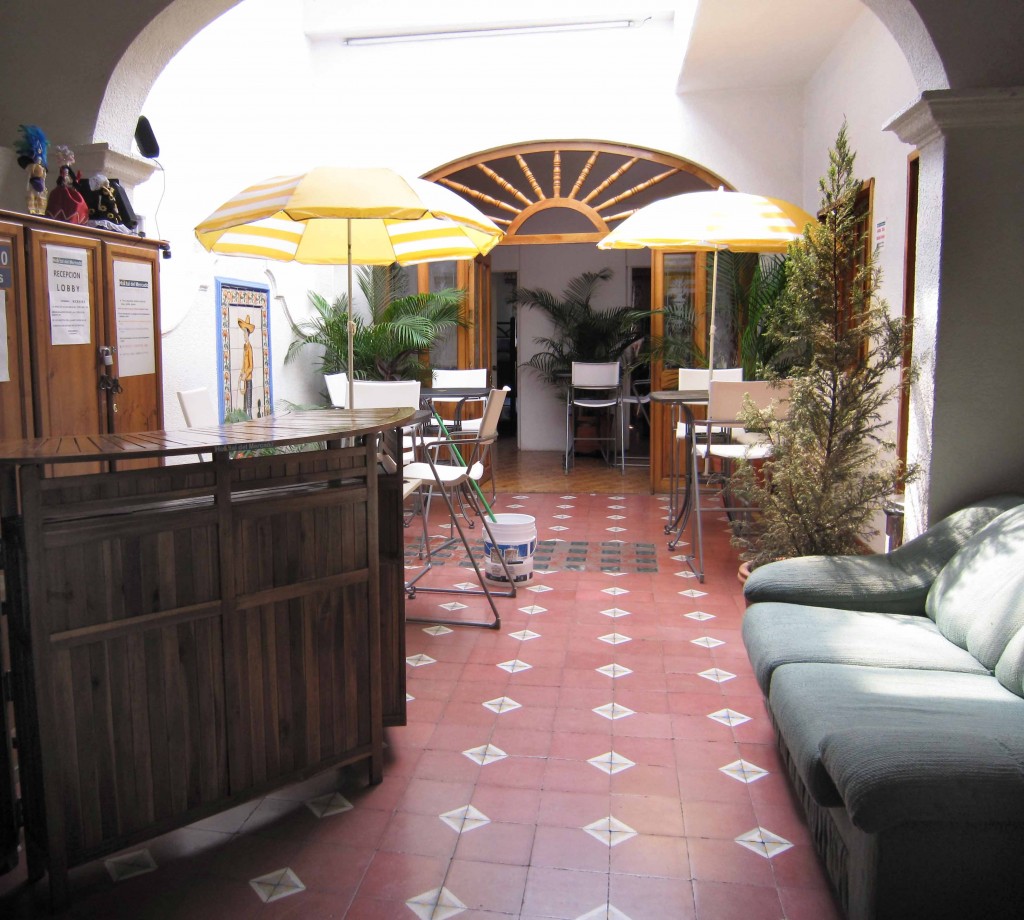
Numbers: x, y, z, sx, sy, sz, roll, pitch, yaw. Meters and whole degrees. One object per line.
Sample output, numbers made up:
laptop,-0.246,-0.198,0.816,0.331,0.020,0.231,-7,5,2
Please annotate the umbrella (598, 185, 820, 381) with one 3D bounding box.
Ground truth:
umbrella,1.185,-1.196,5.578,1.510,1.600,1.544,-2,5,-2

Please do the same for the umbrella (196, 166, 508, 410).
umbrella,-0.792,-0.930,4.031,1.453,1.354,1.417,-1,8,-2

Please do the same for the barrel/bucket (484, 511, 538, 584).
barrel/bucket,-0.002,0.525,4.744,0.290,0.415,0.535,0,8,0

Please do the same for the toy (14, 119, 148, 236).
toy,-1.990,-1.310,3.716,0.472,0.425,0.578,5,9,32
